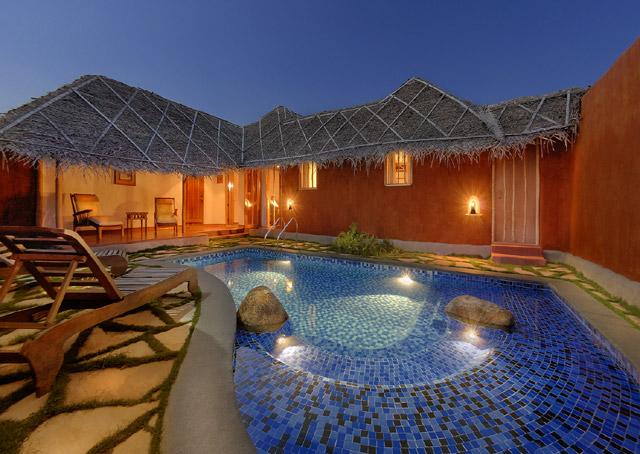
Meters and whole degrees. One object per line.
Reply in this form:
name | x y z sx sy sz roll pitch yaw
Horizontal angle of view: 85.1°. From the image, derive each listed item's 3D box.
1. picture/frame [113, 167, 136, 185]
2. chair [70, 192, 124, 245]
picture/frame | -6.459 -1.646 11.332 0.039 0.401 0.522 -7 -6 35
chair | -6.561 -0.310 10.173 1.463 1.115 0.993 11 11 34
